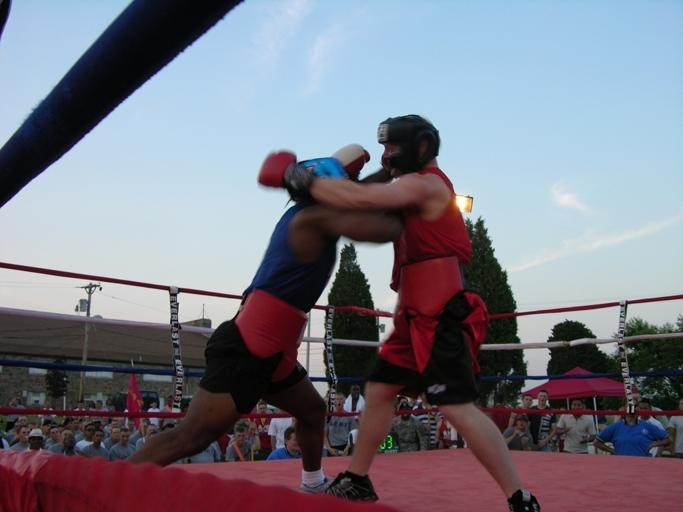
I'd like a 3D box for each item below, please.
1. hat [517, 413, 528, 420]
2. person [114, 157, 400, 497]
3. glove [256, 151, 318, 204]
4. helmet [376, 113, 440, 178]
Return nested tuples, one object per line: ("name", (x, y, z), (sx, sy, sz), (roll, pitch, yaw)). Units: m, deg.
("hat", (2.157, 1.921, 6.451), (0.107, 0.124, 0.134), (-1, -22, 10))
("person", (-0.171, 0.157, 2.174), (0.802, 1.249, 0.838), (-8, -17, 28))
("glove", (-0.160, -0.302, 1.981), (0.245, 0.076, 0.162), (27, -53, -22))
("helmet", (0.292, -0.505, 2.434), (0.288, 0.248, 0.222), (-15, 16, -20))
